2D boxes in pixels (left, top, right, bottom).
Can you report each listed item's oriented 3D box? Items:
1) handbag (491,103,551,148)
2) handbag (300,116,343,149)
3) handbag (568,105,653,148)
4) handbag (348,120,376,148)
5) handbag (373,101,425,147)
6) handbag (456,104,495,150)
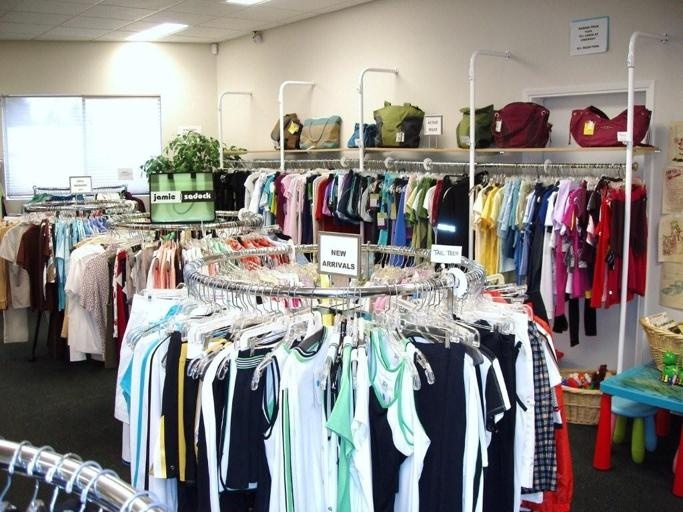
[{"bbox_3d":[1.673,-1.190,5.041,0.424,0.363,0.408,-4,5,-42],"label":"handbag"},{"bbox_3d":[-0.313,-1.665,7.264,0.589,0.434,0.263,3,9,16],"label":"handbag"},{"bbox_3d":[2.192,-1.006,4.438,0.523,0.324,0.364,1,9,43],"label":"handbag"},{"bbox_3d":[0.266,-1.427,6.398,0.246,0.361,0.129,6,3,24],"label":"handbag"},{"bbox_3d":[0.661,-1.484,6.127,0.477,0.500,0.207,2,7,15],"label":"handbag"},{"bbox_3d":[1.333,-1.266,5.309,0.266,0.554,0.492,-8,14,-35],"label":"handbag"}]
